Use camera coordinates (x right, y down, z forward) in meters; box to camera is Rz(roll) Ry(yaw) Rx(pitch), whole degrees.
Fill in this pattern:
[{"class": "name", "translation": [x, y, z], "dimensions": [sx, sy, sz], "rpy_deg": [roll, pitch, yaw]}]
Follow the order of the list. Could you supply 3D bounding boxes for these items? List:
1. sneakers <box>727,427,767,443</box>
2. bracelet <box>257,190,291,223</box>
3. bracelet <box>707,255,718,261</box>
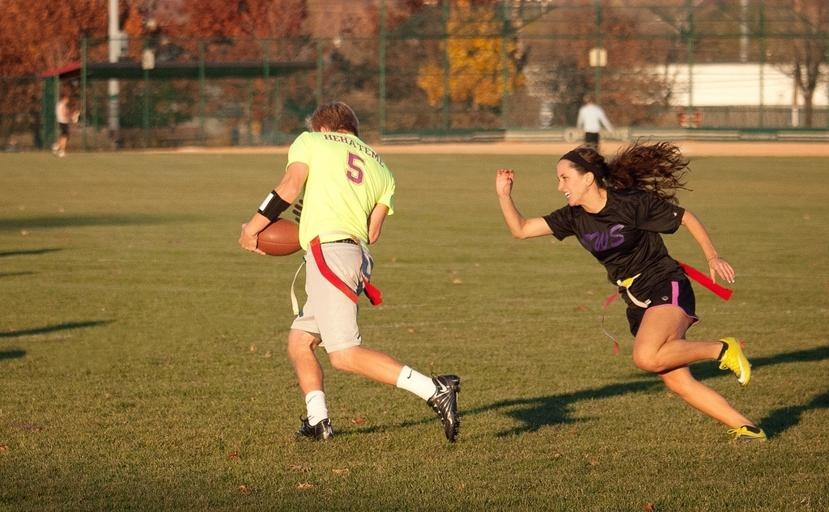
[{"class": "sneakers", "translation": [3.670, 1.958, 11.931], "dimensions": [0.416, 0.112, 0.199], "rpy_deg": [0, 1, 8]}, {"class": "bracelet", "translation": [-1.516, -0.576, 12.189], "dimensions": [0.426, 0.300, 0.162], "rpy_deg": [22, 32, -40]}, {"class": "bracelet", "translation": [3.310, 0.015, 12.012], "dimensions": [0.079, 0.054, 0.089], "rpy_deg": [-3, -3, -21]}]
